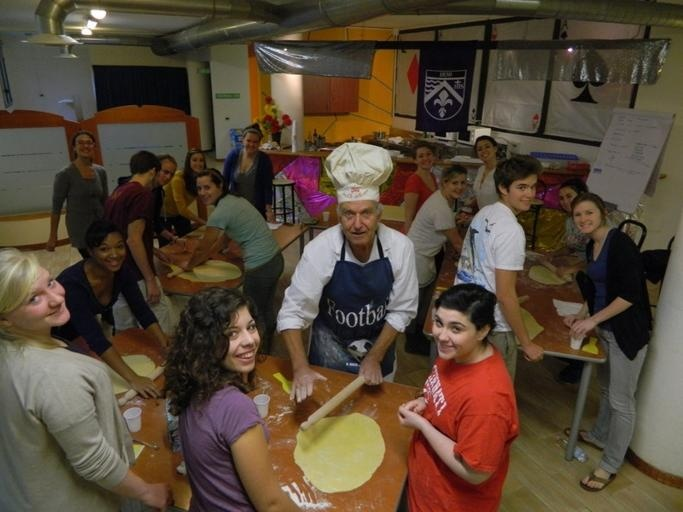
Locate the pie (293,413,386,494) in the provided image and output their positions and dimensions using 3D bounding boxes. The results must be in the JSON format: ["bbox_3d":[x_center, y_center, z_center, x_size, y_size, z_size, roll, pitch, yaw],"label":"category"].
[{"bbox_3d":[0.003,0.950,2.239,0.461,0.102,0.399,-12,22,-31],"label":"pie"}]

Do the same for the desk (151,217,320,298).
[{"bbox_3d":[-1.106,0.085,4.441,1.617,0.626,2.650,1,-2,-15],"label":"desk"}]

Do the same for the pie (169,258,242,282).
[{"bbox_3d":[-1.146,0.141,4.043,0.377,0.092,0.266,4,16,-37],"label":"pie"}]

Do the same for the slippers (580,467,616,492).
[{"bbox_3d":[1.755,1.532,3.145,0.260,0.065,0.112,-19,26,-17],"label":"slippers"}]

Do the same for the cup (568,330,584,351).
[{"bbox_3d":[1.540,0.568,3.059,0.091,0.096,0.093,3,8,0],"label":"cup"}]

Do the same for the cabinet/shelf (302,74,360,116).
[{"bbox_3d":[-0.247,-3.610,10.247,1.507,0.767,0.296,-16,25,-40],"label":"cabinet/shelf"}]

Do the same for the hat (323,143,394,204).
[{"bbox_3d":[0.117,-0.437,2.557,0.357,0.263,0.313,0,6,27],"label":"hat"}]

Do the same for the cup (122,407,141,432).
[{"bbox_3d":[-1.084,0.846,2.399,0.096,0.078,0.096,-2,17,1],"label":"cup"}]
